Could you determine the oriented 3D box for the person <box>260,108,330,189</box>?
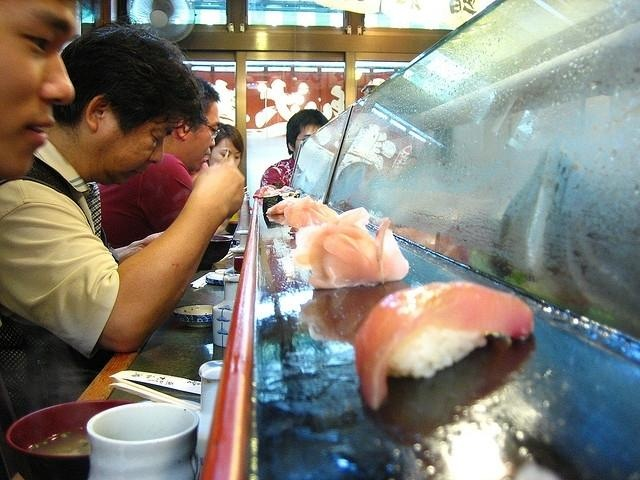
[{"bbox_3d":[-0.338,-1.094,5.006,0.557,0.952,0.648,16,15,34],"label":"person"}]
